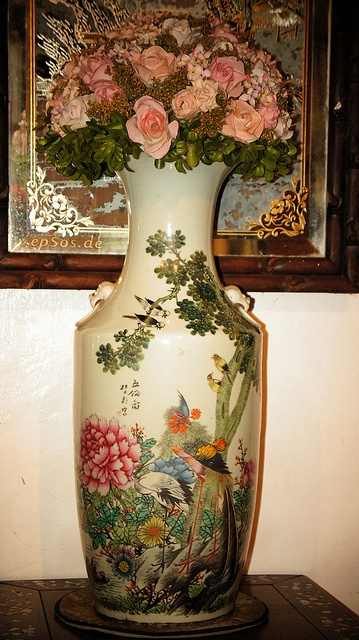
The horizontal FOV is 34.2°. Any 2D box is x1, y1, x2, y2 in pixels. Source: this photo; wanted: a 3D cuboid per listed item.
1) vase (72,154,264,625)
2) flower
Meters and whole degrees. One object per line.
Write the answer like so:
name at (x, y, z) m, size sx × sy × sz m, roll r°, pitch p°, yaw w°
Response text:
vase at (-0.014, 0.076, 0.664) m, size 0.195 × 0.514 × 0.124 m, roll 2°, pitch -11°, yaw -2°
flower at (-0.032, -0.251, 0.668) m, size 0.279 × 0.223 × 0.117 m, roll 1°, pitch -25°, yaw 2°
